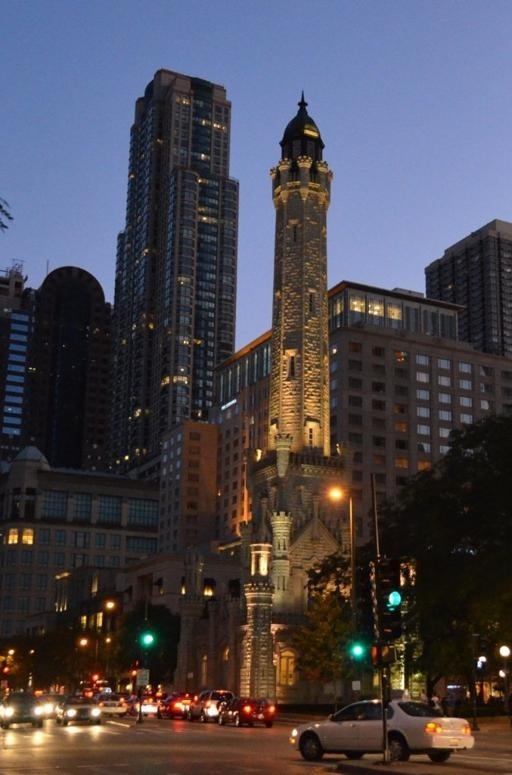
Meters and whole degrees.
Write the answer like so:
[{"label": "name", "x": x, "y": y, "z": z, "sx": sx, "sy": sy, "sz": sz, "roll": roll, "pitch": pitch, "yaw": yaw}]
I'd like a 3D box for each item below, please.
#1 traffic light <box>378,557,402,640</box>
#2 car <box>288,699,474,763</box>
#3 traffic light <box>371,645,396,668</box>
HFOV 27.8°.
[{"label": "traffic light", "x": 2.584, "y": 4.147, "z": 20.207, "sx": 0.452, "sy": 1.595, "sz": 0.781, "roll": -3, "pitch": -18, "yaw": 6}, {"label": "car", "x": 2.707, "y": 7.617, "z": 22.775, "sx": 3.705, "sy": 1.328, "sz": 1.414, "roll": -13, "pitch": -21, "yaw": 33}, {"label": "traffic light", "x": 2.517, "y": 5.376, "z": 20.560, "sx": 0.358, "sy": 0.424, "sz": 0.714, "roll": 6, "pitch": -19, "yaw": -22}]
